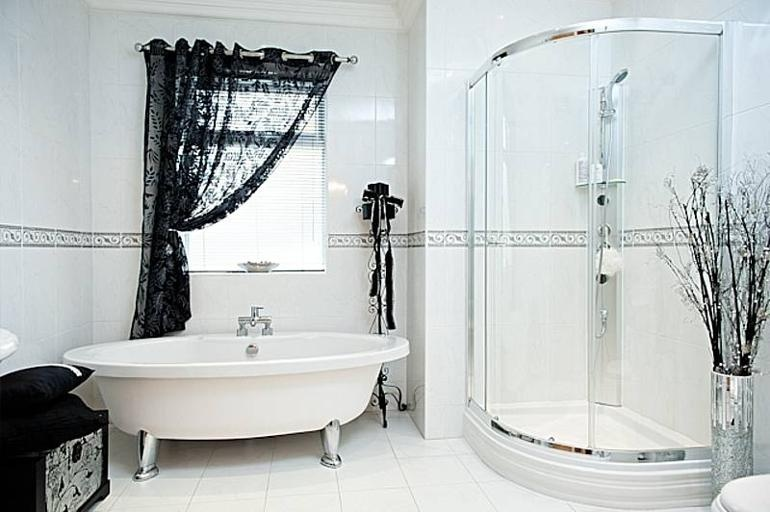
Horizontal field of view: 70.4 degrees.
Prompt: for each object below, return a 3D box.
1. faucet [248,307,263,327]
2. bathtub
[{"bbox_3d":[-1.031,0.501,4.407,0.109,0.177,0.203,-1,3,-13],"label":"faucet"},{"bbox_3d":[-1.029,1.062,3.887,2.067,0.856,0.756,-1,3,-3],"label":"bathtub"}]
